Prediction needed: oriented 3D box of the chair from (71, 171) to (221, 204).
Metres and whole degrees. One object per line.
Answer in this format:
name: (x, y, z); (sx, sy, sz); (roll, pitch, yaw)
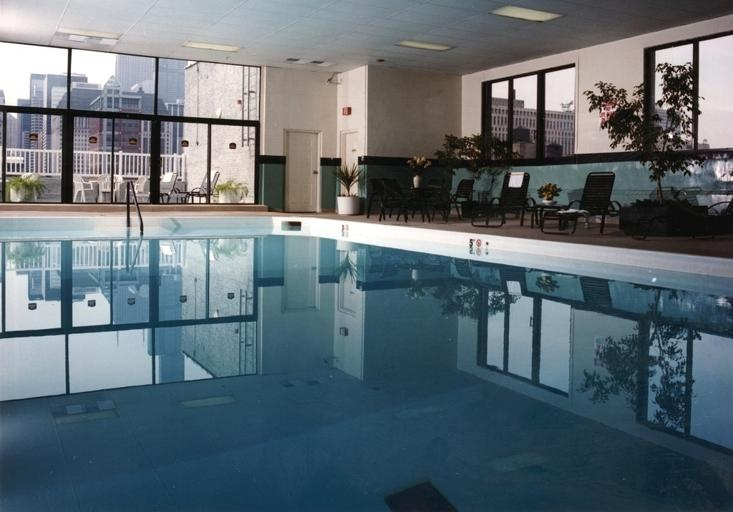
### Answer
chair: (-6.223, -1.914, 15.960); (3.733, 0.947, 0.849); (-5, 11, -30)

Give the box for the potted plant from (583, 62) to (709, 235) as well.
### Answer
potted plant: (5.241, -1.978, 10.454); (2.272, 2.115, 3.247); (-15, 36, 23)

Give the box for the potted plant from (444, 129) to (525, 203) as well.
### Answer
potted plant: (2.851, -2.426, 15.301); (1.860, 1.730, 1.582); (0, 3, -10)

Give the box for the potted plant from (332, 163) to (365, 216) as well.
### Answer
potted plant: (-0.490, -1.833, 15.356); (0.754, 1.339, 1.544); (0, 9, -3)

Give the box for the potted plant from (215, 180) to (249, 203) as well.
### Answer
potted plant: (-3.972, -1.897, 16.585); (1.165, 0.689, 0.459); (9, 12, 40)

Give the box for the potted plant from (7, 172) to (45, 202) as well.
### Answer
potted plant: (-8.816, -1.793, 14.689); (0.723, 0.731, 0.740); (6, 7, 34)
